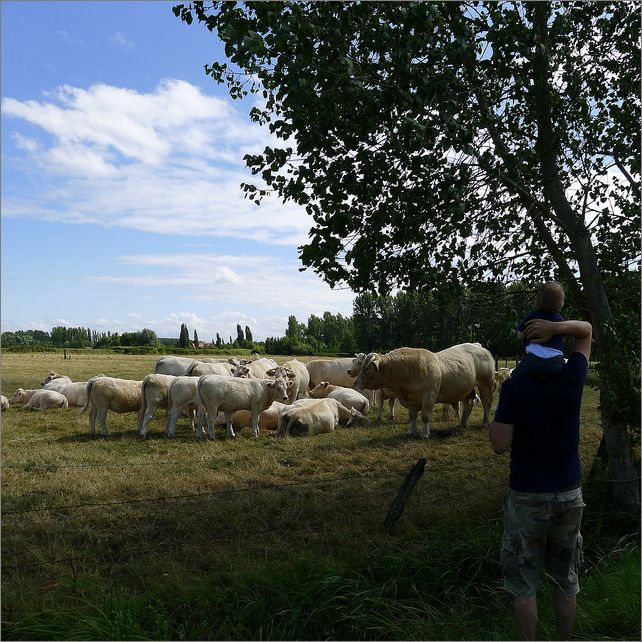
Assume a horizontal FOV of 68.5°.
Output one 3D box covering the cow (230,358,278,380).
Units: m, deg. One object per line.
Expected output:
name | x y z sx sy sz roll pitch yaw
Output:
cow | -1.988 1.472 14.721 0.404 0.826 1.360 -4 -4 22

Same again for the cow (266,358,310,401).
cow | -0.859 2.199 15.961 0.742 1.382 2.362 2 3 24

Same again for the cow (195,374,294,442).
cow | -1.830 2.032 11.353 2.125 1.604 0.829 3 6 -23

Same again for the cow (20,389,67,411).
cow | -8.485 2.433 14.541 1.216 0.559 0.624 -1 -4 9

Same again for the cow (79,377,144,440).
cow | -4.833 1.937 10.976 1.163 1.251 0.939 3 -5 -36

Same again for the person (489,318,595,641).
person | 1.496 1.026 3.184 0.710 2.090 0.290 1 -4 -9

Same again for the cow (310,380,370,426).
cow | 0.452 2.391 13.838 1.516 0.973 0.719 14 -18 12

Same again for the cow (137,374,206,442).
cow | -3.376 1.994 11.352 1.914 1.547 0.563 5 -7 -37

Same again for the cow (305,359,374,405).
cow | 0.974 2.201 17.624 3.237 2.174 1.247 -3 4 -2

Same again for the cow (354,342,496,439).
cow | 2.806 1.615 11.862 3.651 2.122 1.538 2 -5 -34
